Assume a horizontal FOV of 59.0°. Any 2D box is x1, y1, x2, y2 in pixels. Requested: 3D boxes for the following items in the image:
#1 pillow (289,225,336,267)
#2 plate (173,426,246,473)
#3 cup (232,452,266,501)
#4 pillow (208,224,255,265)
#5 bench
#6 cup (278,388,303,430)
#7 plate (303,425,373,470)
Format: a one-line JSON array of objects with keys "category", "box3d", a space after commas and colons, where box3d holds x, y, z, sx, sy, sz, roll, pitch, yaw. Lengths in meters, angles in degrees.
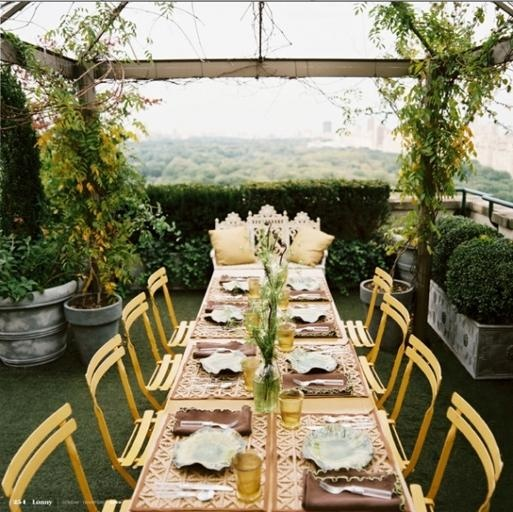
[{"category": "pillow", "box3d": [0.638, -0.119, 5.288, 0.491, 0.406, 0.554, 1, 15, 9]}, {"category": "plate", "box3d": [-0.165, 0.679, 1.621, 0.254, 0.045, 0.256, 1, 14, 8]}, {"category": "cup", "box3d": [-0.026, 0.678, 1.385, 0.084, 0.139, 0.086, -1, 15, 0]}, {"category": "pillow", "box3d": [-0.295, -0.090, 5.463, 0.577, 0.202, 0.653, -10, -26, 12]}, {"category": "bench", "box3d": [0.137, -0.147, 5.380, 1.324, 0.867, 0.473, -2, 15, -5]}, {"category": "cup", "box3d": [0.138, 0.598, 1.790, 0.130, 0.148, 0.132, -2, -14, 0]}, {"category": "plate", "box3d": [0.287, 0.680, 1.609, 0.252, 0.035, 0.262, -1, 14, 2]}]
